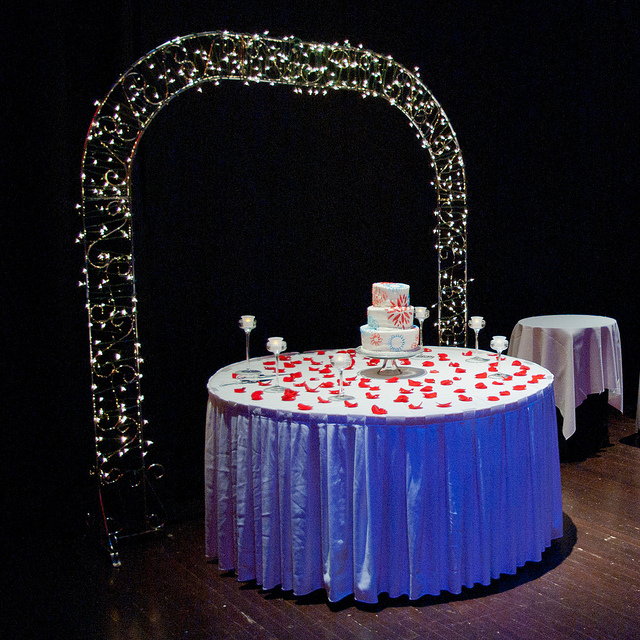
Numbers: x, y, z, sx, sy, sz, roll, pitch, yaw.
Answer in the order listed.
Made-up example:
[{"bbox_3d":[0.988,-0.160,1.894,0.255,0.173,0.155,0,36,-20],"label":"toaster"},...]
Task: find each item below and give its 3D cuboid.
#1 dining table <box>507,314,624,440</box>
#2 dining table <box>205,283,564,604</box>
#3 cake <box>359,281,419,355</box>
[{"bbox_3d":[1.988,0.488,5.363,0.656,0.710,0.777,-15,-10,-1],"label":"dining table"},{"bbox_3d":[0.312,0.737,3.536,1.780,0.980,1.057,-3,8,-11],"label":"dining table"},{"bbox_3d":[0.362,-0.012,3.700,0.273,0.391,0.321,0,0,-17],"label":"cake"}]
